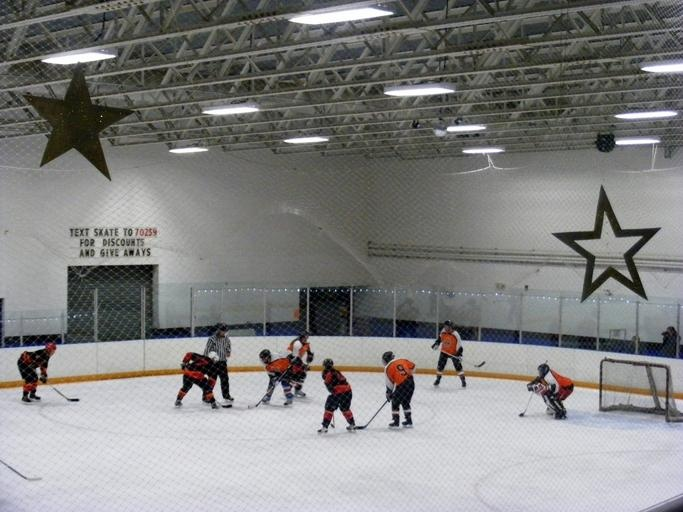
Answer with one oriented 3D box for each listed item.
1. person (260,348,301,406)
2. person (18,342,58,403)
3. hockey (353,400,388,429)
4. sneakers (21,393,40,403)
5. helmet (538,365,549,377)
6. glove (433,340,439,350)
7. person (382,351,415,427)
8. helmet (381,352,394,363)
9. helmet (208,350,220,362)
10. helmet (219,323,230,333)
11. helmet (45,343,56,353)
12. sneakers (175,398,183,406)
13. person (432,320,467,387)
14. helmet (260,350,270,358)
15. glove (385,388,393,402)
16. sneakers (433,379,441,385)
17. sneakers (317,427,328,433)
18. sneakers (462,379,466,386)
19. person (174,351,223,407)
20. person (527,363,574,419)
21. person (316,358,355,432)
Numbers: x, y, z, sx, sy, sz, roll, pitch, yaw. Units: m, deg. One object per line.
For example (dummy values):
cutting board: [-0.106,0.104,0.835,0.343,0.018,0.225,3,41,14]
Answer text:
person: [-1.143,2.207,11.815,0.657,1.083,0.759,1,3,-5]
person: [-5.504,2.088,11.633,0.528,1.135,0.983,-1,3,-33]
hockey: [0.522,2.610,10.496,0.046,0.820,0.291,9,37,-48]
sneakers: [-5.597,2.581,11.765,0.373,0.229,0.138,-1,-1,1]
helmet: [3.465,1.966,11.154,0.174,0.166,0.206,0,-10,13]
glove: [1.922,1.858,13.400,0.214,0.113,0.052,-47,-26,27]
person: [0.928,2.165,10.586,0.481,1.270,0.686,1,3,7]
helmet: [0.752,1.647,10.518,0.154,0.235,0.561,1,2,7]
helmet: [-2.308,1.799,11.617,0.192,0.229,0.499,0,2,-7]
helmet: [-2.114,1.328,12.028,0.338,0.166,0.322,2,-2,-11]
helmet: [-5.150,1.624,11.425,0.159,0.185,0.301,0,2,-27]
sneakers: [-2.953,2.650,11.701,0.115,0.142,0.352,2,-13,-12]
person: [2.337,2.048,13.941,0.735,1.443,1.341,1,2,9]
helmet: [-1.356,1.734,11.505,0.189,0.129,0.242,0,2,-9]
glove: [0.772,2.230,10.363,0.088,0.172,0.118,1,3,11]
sneakers: [2.009,2.672,13.674,0.154,0.132,0.313,0,-10,13]
sneakers: [-0.311,2.736,10.178,0.074,0.086,0.198,3,-1,-33]
sneakers: [2.569,2.668,13.630,0.071,0.132,0.177,1,2,11]
person: [-2.570,2.200,11.536,0.786,1.065,0.627,-1,3,-32]
person: [3.670,2.389,11.372,0.801,0.929,0.543,-3,-2,19]
person: [-0.114,2.179,10.104,0.514,1.199,0.674,2,3,27]
